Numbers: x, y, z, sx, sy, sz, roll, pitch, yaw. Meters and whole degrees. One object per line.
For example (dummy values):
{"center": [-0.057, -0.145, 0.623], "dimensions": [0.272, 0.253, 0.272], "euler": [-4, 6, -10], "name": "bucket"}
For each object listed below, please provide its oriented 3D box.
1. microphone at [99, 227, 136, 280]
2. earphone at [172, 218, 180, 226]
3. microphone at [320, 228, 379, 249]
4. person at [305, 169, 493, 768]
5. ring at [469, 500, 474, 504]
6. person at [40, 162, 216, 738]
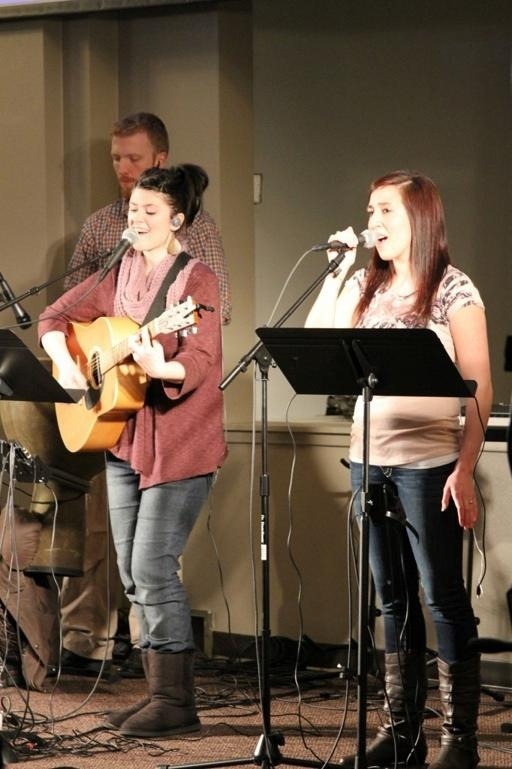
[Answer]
{"center": [-0.370, -0.359, 2.293], "dimensions": [0.085, 0.165, 0.200], "euler": [1, -6, -4], "name": "microphone"}
{"center": [-0.235, -0.474, 2.486], "dimensions": [0.024, 0.020, 0.006], "euler": [-1, 3, -21], "name": "earphone"}
{"center": [0.226, -0.362, 2.100], "dimensions": [0.166, 0.048, 0.051], "euler": [-9, 19, -19], "name": "microphone"}
{"center": [0.375, 0.220, 2.143], "dimensions": [0.371, 1.501, 0.322], "euler": [0, -6, 5], "name": "person"}
{"center": [0.506, 0.278, 2.028], "dimensions": [0.010, 0.008, 0.003], "euler": [1, -7, -12], "name": "ring"}
{"center": [-0.378, 0.161, 2.404], "dimensions": [0.574, 1.684, 0.709], "euler": [1, -6, -2], "name": "person"}
